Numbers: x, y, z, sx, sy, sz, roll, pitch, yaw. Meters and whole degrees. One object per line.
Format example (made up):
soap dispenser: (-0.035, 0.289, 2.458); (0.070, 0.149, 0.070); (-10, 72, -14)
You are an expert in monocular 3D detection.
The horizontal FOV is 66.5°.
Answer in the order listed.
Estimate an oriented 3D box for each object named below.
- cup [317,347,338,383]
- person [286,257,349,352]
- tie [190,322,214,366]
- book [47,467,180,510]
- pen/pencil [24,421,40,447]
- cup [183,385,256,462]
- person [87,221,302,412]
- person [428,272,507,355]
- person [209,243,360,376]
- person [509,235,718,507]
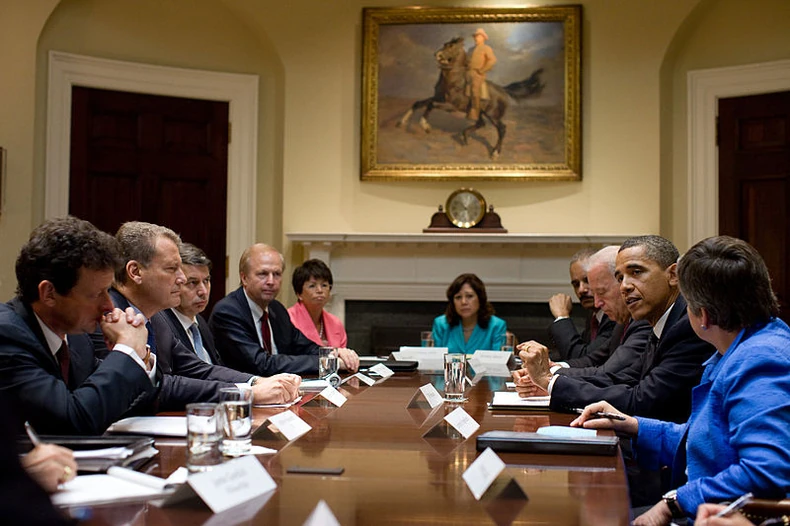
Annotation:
cup: (-0.335, 0.525, 3.182); (0.135, 0.187, 0.142); (6, 1, 0)
person: (-0.646, 0.358, 4.813); (0.436, 0.748, 0.512); (-5, -6, 29)
tie: (-1.124, 0.464, 3.481); (0.023, 0.063, 0.255); (-8, -38, 17)
book: (-0.745, 0.589, 1.578); (0.194, 0.032, 0.222); (1, -9, -2)
pen/pencil: (-1.134, 0.528, 1.875); (0.019, 0.021, 0.081); (-20, 40, -25)
cup: (-0.518, 0.482, 1.797); (0.141, 0.219, 0.276); (-2, -1, 6)
person: (-0.958, 0.319, 2.805); (1.164, 0.907, 0.552); (5, -2, 31)
person: (0.630, 0.508, 5.007); (0.745, 0.900, 0.567); (-1, -13, 12)
person: (-0.704, 0.297, 3.949); (0.944, 0.863, 0.673); (-5, -4, 21)
person: (0.904, 0.550, 2.789); (0.661, 1.155, 0.475); (-11, -2, -13)
